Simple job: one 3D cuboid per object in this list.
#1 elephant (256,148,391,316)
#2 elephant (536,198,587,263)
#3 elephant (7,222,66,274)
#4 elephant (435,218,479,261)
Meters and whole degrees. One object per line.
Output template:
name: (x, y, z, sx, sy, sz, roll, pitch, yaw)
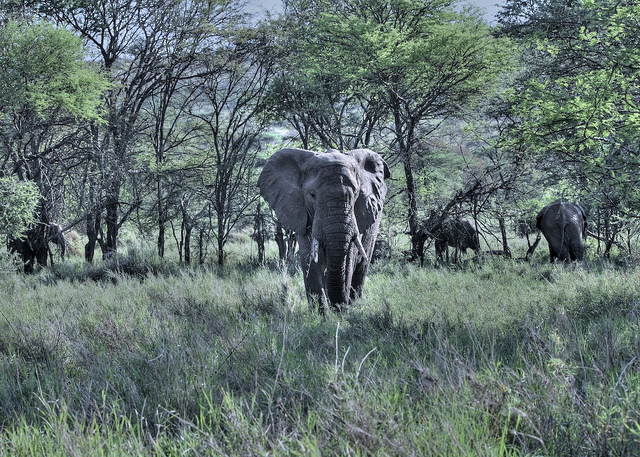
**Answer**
elephant: (0.127, -0.065, 11.866, 1.849, 2.462, 3.142, 0, -8, 0)
elephant: (6.149, 0.019, 15.378, 1.030, 1.636, 1.191, 1, -1, 21)
elephant: (-7.951, 0.517, 17.018, 1.413, 1.006, 1.169, 2, -1, -29)
elephant: (4.119, 0.255, 18.493, 1.236, 1.288, 3.980, 1, -1, 11)
